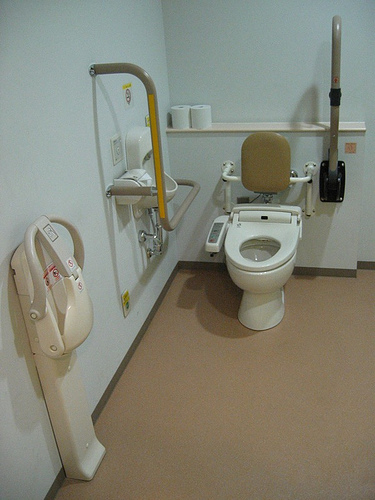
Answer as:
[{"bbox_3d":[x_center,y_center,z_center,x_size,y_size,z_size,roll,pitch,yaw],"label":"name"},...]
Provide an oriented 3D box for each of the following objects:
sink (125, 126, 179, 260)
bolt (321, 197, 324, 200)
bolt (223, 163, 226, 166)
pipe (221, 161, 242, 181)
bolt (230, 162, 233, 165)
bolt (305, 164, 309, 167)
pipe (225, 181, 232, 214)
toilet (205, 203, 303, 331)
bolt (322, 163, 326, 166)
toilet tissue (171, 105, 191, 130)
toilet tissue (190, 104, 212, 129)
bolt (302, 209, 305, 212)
[{"bbox_3d":[-0.161,-0.260,1.836,0.159,0.661,0.311,4,15,23],"label":"sink"},{"bbox_3d":[0.838,-0.319,2.227,0.015,0.016,0.003,7,23,23],"label":"bolt"},{"bbox_3d":[0.232,-0.539,2.254,0.008,0.014,0.012,-4,-1,9],"label":"bolt"},{"bbox_3d":[0.276,-0.489,2.248,0.117,0.116,0.200,-1,26,6],"label":"pipe"},{"bbox_3d":[0.275,-0.543,2.248,0.014,0.028,0.007,2,2,6],"label":"bolt"},{"bbox_3d":[0.704,-0.498,2.107,0.014,0.013,0.022,5,27,18],"label":"bolt"},{"bbox_3d":[0.258,-0.346,2.282,0.038,0.209,0.080,-1,22,6],"label":"pipe"},{"bbox_3d":[0.380,0.104,2.106,0.515,0.591,0.566,6,26,20],"label":"toilet"},{"bbox_3d":[0.816,-0.513,2.144,0.020,0.015,0.005,-4,21,0],"label":"bolt"},{"bbox_3d":[-0.033,-0.838,2.277,0.113,0.159,0.140,5,32,11],"label":"toilet tissue"},{"bbox_3d":[0.086,-0.824,2.217,0.110,0.150,0.141,2,37,9],"label":"toilet tissue"},{"bbox_3d":[0.737,-0.248,2.283,0.012,0.017,0.018,6,54,8],"label":"bolt"}]
